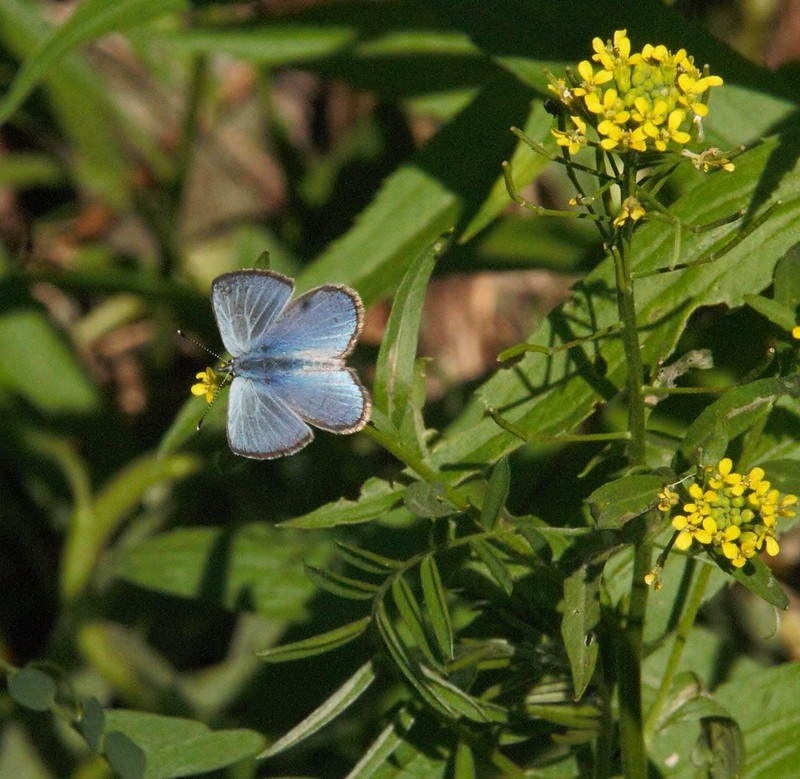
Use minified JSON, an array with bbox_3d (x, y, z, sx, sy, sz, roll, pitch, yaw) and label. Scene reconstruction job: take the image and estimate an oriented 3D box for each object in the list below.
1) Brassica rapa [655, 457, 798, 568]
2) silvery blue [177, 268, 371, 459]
[{"bbox_3d":[0.347,0.132,1.144,0.147,0.127,0.052,-16,-13,-11],"label":"Brassica rapa"},{"bbox_3d":[-0.138,-0.032,1.334,0.223,0.192,0.179,4,-2,4],"label":"silvery blue"}]
